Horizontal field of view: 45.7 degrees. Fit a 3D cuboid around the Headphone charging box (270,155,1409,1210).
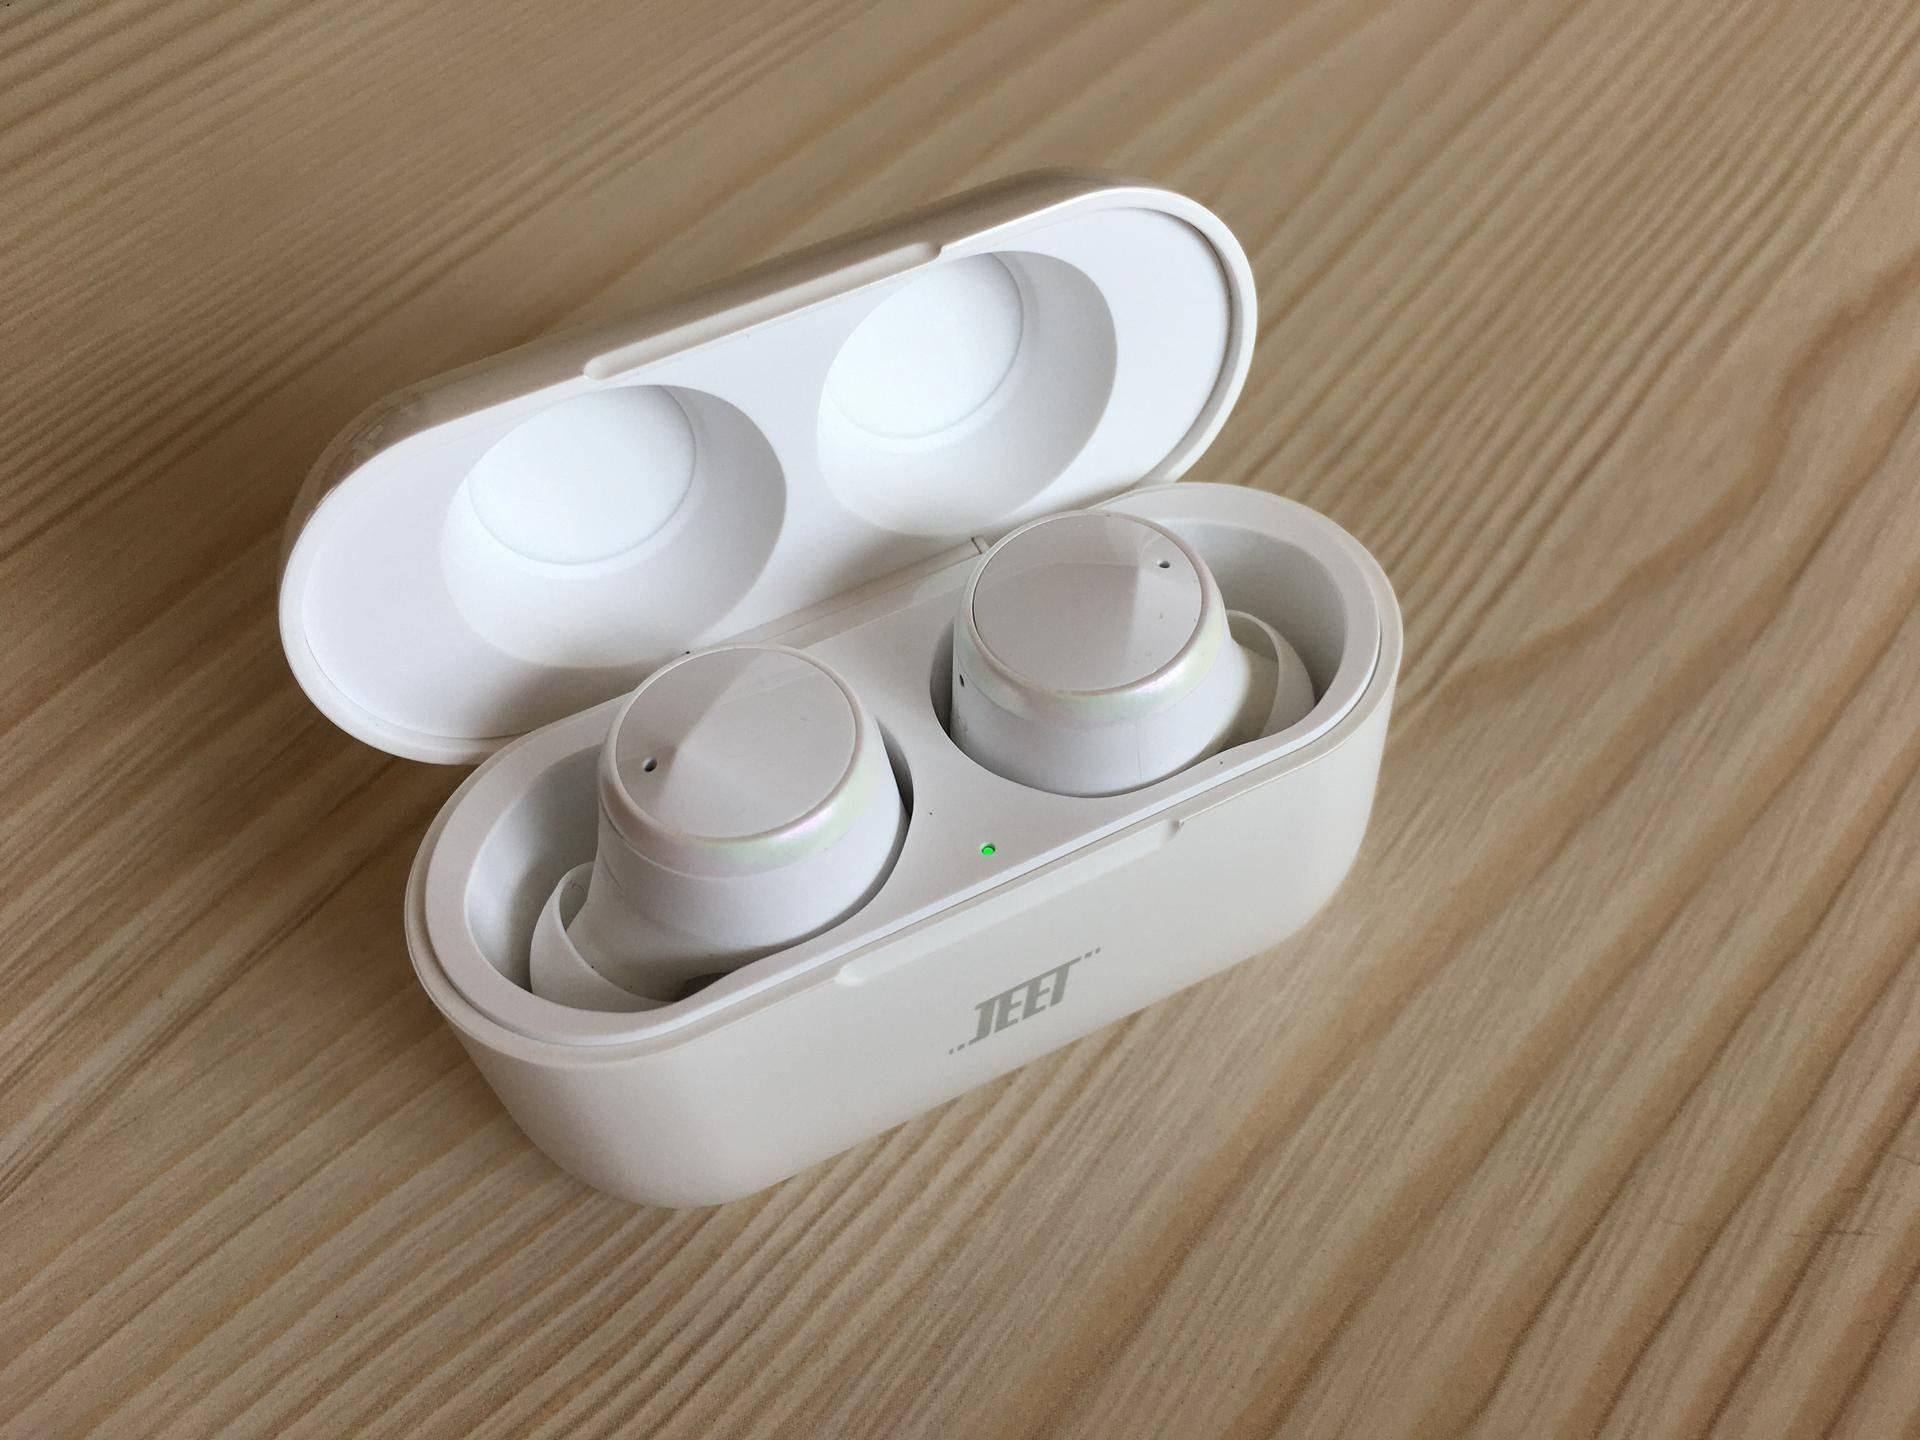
[{"bbox_3d":[-0.057,0.076,1.365,0.627,0.499,0.503,-23,62,-11],"label":"Headphone charging box"}]
